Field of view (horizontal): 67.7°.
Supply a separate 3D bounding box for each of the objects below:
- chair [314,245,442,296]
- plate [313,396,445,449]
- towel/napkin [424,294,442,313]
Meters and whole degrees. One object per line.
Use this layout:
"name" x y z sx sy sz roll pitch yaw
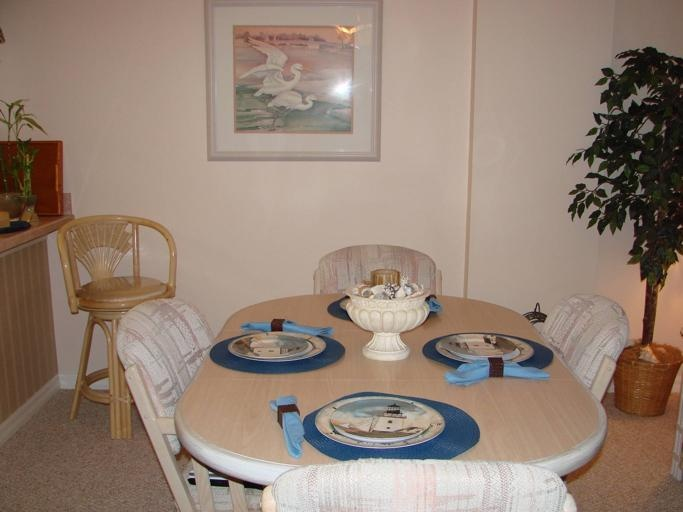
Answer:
"chair" 0.184 0.069 2.676 0.643 0.228 0.245 0 14 0
"plate" 0.090 0.398 1.227 0.301 0.025 0.221 5 14 19
"towel/napkin" 0.373 0.195 2.073 0.098 0.034 0.095 1 25 -10
